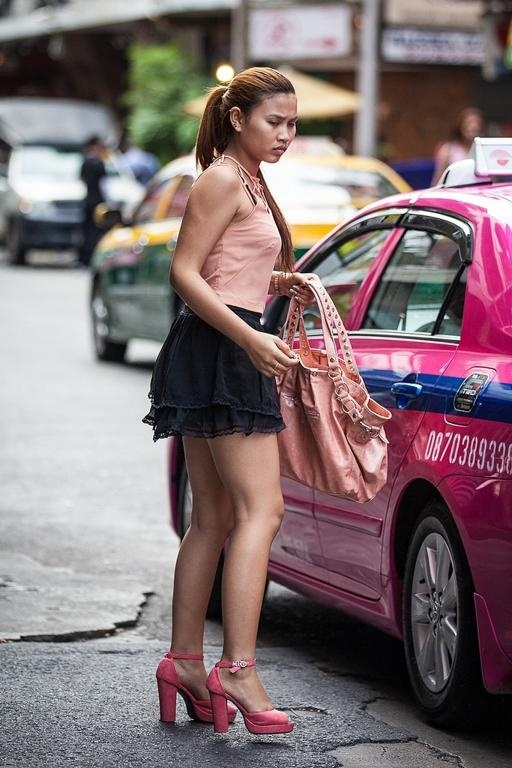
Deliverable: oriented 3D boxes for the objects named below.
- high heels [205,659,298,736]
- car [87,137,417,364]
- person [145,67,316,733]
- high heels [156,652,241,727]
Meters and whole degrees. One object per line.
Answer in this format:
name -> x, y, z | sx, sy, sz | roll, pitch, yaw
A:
high heels -> -0.012, 0.774, 1.949 | 0.225, 0.158, 0.099 | 1, -16, 0
car -> -0.243, -1.714, 10.481 | 2.735, 1.947, 4.354 | -6, 10, -30
person -> -0.089, 0.042, 2.020 | 0.432, 1.714, 0.576 | 1, -7, 3
high heels -> -0.161, 0.824, 2.138 | 0.232, 0.173, 0.101 | 8, -21, -18
